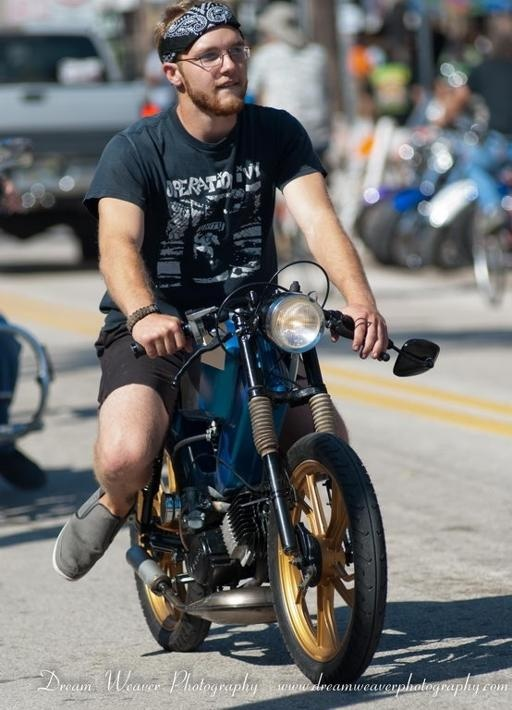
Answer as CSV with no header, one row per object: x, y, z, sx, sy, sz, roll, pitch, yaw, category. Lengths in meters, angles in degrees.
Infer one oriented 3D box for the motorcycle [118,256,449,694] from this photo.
0.239,0.314,2.312,0.863,0.692,1.254,4,-11,-23,motorcycle

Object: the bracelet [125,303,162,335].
-0.266,-0.082,2.197,0.070,0.028,0.075,-22,-11,-20,bracelet
